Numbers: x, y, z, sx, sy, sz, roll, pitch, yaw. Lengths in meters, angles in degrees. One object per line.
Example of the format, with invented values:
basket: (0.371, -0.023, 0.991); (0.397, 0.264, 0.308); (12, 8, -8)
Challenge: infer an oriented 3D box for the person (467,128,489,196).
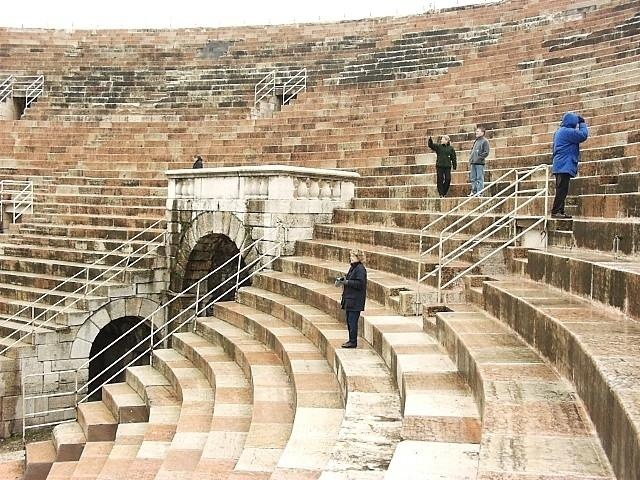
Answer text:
person: (3.407, -1.698, 20.131); (0.353, 1.441, 0.606); (1, 6, 10)

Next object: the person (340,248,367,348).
person: (0.570, 0.991, 16.084); (0.409, 1.638, 0.389); (0, 5, 0)

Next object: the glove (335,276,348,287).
glove: (0.358, 0.715, 16.035); (0.186, 0.164, 0.205); (11, 51, 2)

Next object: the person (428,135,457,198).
person: (2.748, -1.656, 21.053); (0.576, 1.372, 0.776); (1, 6, 9)

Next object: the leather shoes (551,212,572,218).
leather shoes: (4.284, -0.440, 16.686); (0.363, 0.156, 0.126); (2, 2, 20)

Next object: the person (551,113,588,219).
person: (4.453, -1.371, 16.991); (0.608, 1.869, 0.953); (3, 6, 32)

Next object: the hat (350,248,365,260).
hat: (0.649, 0.233, 16.177); (0.189, 0.187, 0.171); (12, -9, -4)
